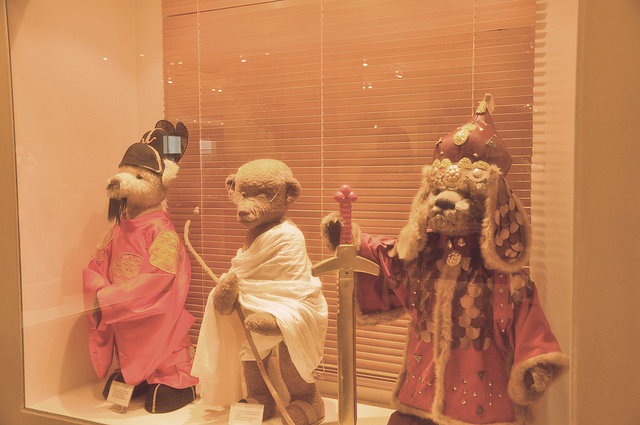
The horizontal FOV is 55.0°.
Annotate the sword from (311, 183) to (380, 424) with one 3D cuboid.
[{"bbox_3d":[0.128,0.442,2.923,0.311,1.138,0.262,-1,-4,5],"label":"sword"}]
